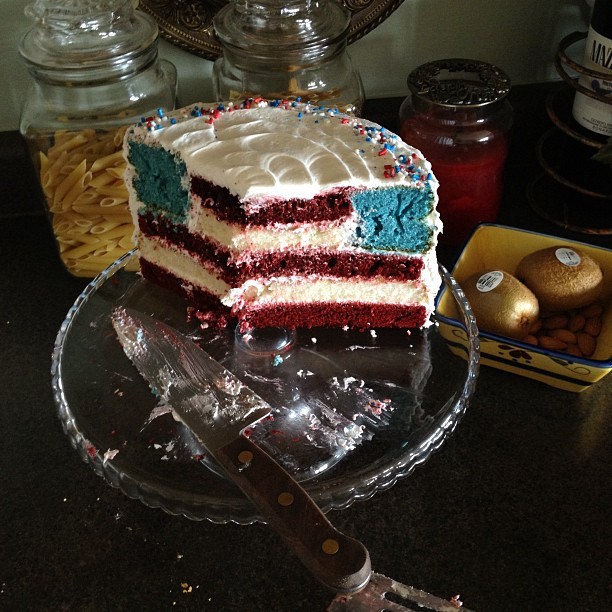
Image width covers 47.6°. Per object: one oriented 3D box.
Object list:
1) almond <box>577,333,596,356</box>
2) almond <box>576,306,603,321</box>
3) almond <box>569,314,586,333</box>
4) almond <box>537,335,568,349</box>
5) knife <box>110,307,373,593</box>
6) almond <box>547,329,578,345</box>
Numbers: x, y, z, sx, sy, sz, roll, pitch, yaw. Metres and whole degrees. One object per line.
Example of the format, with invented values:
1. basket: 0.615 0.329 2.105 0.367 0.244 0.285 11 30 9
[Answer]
1. almond: 0.442 0.061 1.091 0.030 0.010 0.031 -3 53 6
2. almond: 0.463 0.012 1.136 0.039 0.010 0.018 -20 28 -12
3. almond: 0.437 0.028 1.125 0.025 0.009 0.027 7 48 31
4. almond: 0.391 0.058 1.104 0.043 0.009 0.031 26 45 34
5. knife: -0.108 0.154 0.987 0.122 0.053 0.642 -26 41 -27
6. almond: 0.409 0.048 1.111 0.040 0.011 0.023 21 44 35
